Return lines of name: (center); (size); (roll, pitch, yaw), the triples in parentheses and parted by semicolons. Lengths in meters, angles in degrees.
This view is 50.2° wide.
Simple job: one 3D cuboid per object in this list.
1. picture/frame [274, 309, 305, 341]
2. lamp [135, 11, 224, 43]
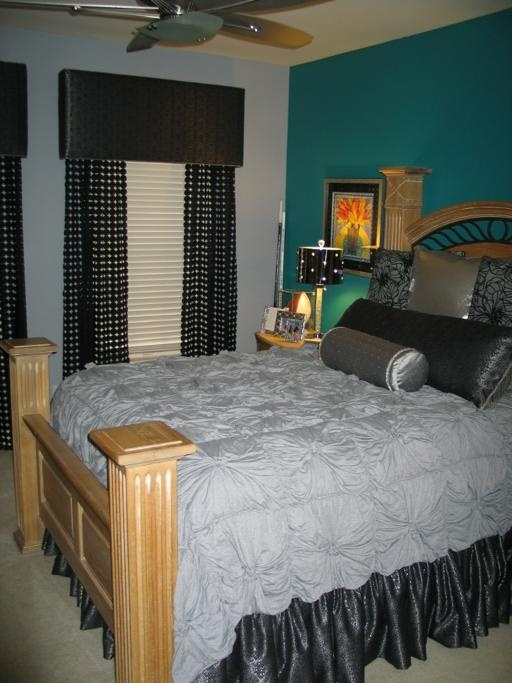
picture/frame: (0.256, -0.121, 3.999); (0.222, 0.218, 0.053); (4, -22, 36)
lamp: (-0.239, -1.079, 1.883); (0.198, 0.041, 0.161); (-1, 14, -22)
